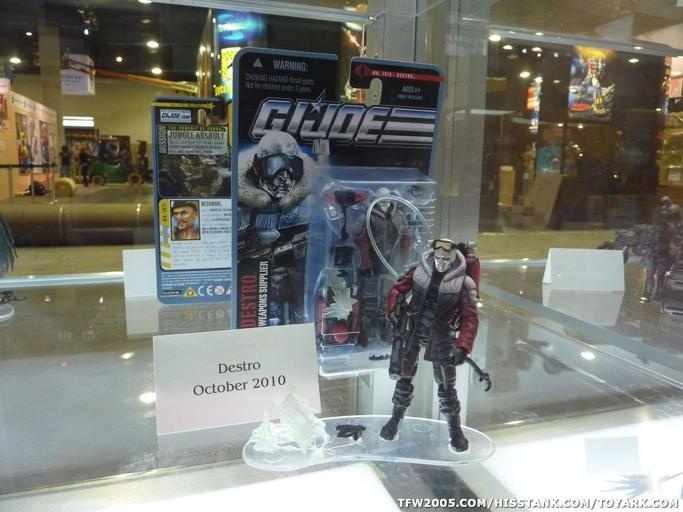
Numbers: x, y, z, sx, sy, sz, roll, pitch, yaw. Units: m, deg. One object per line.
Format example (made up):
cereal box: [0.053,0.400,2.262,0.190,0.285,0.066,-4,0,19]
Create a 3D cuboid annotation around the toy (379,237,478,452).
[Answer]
toy: [0.149,0.141,0.904,0.153,0.316,0.144,1,12,13]
